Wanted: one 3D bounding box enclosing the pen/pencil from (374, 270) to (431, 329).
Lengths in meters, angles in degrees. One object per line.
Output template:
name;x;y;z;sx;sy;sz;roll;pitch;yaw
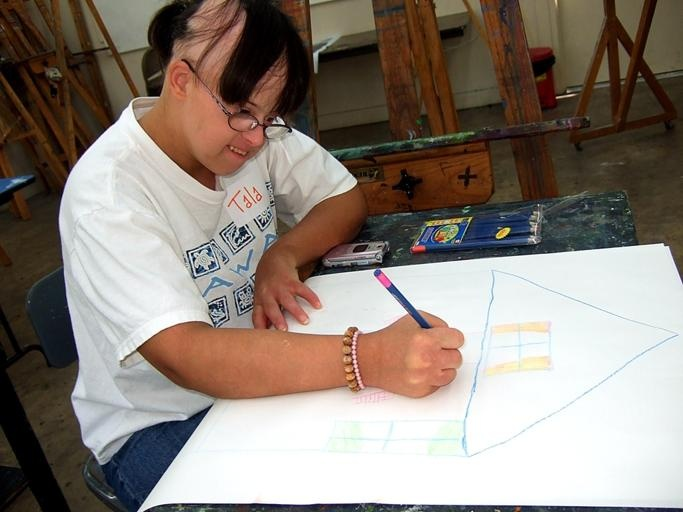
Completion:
pen/pencil;0.111;0.083;0.914;0.014;0.128;0.014;-42;24;-9

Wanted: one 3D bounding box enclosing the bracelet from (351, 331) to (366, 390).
bracelet;0.024;0.169;0.803;0.015;0.065;0.049;-9;-14;4

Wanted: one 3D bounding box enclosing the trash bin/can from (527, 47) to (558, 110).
trash bin/can;1.542;-1.347;3.841;0.211;0.445;0.378;1;31;21

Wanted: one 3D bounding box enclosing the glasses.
glasses;-0.209;-0.266;0.943;0.038;0.132;0.126;-36;-6;20

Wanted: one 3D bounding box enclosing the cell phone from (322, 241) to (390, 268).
cell phone;0.035;0.009;1.152;0.112;0.031;0.072;-2;27;24
